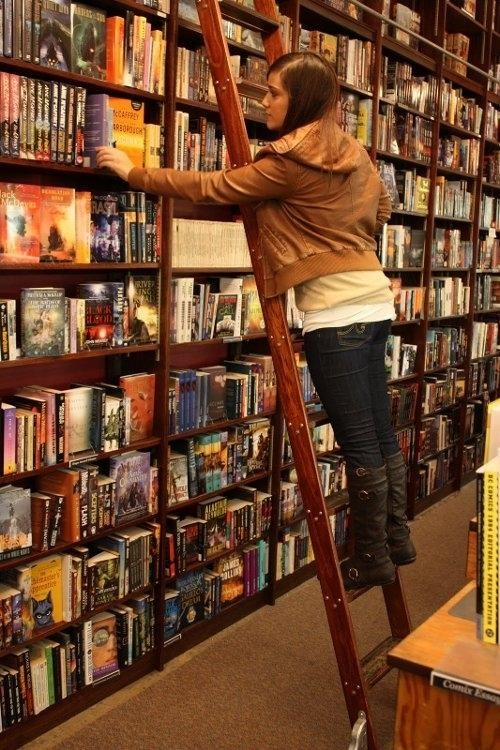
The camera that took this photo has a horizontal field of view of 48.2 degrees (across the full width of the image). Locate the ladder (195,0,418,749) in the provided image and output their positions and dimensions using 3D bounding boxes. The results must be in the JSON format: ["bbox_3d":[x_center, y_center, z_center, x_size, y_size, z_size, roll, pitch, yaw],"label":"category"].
[{"bbox_3d":[0.176,-0.062,1.594,0.473,2.059,0.619,0,2,19],"label":"ladder"}]
